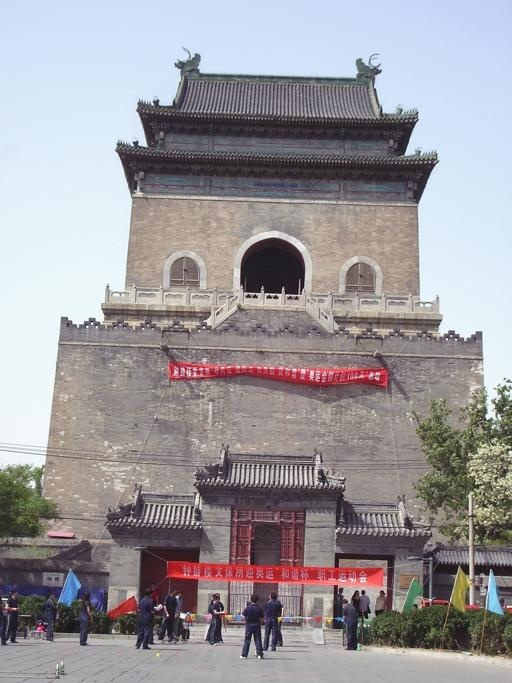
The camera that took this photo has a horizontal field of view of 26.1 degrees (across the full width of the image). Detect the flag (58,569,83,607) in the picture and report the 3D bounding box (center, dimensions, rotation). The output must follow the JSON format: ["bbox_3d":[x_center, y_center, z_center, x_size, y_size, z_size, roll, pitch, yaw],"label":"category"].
[{"bbox_3d":[-3.518,4.663,20.700,0.360,0.692,1.064,6,-15,-8],"label":"flag"}]

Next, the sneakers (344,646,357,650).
[{"bbox_3d":[1.622,5.328,19.021,0.244,0.092,0.070,4,-11,2],"label":"sneakers"}]

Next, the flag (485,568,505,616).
[{"bbox_3d":[3.735,4.006,17.339,0.269,0.639,1.027,-1,-16,13],"label":"flag"}]

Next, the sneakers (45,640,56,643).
[{"bbox_3d":[-3.465,5.062,18.514,0.153,0.058,0.048,6,-12,-1],"label":"sneakers"}]
